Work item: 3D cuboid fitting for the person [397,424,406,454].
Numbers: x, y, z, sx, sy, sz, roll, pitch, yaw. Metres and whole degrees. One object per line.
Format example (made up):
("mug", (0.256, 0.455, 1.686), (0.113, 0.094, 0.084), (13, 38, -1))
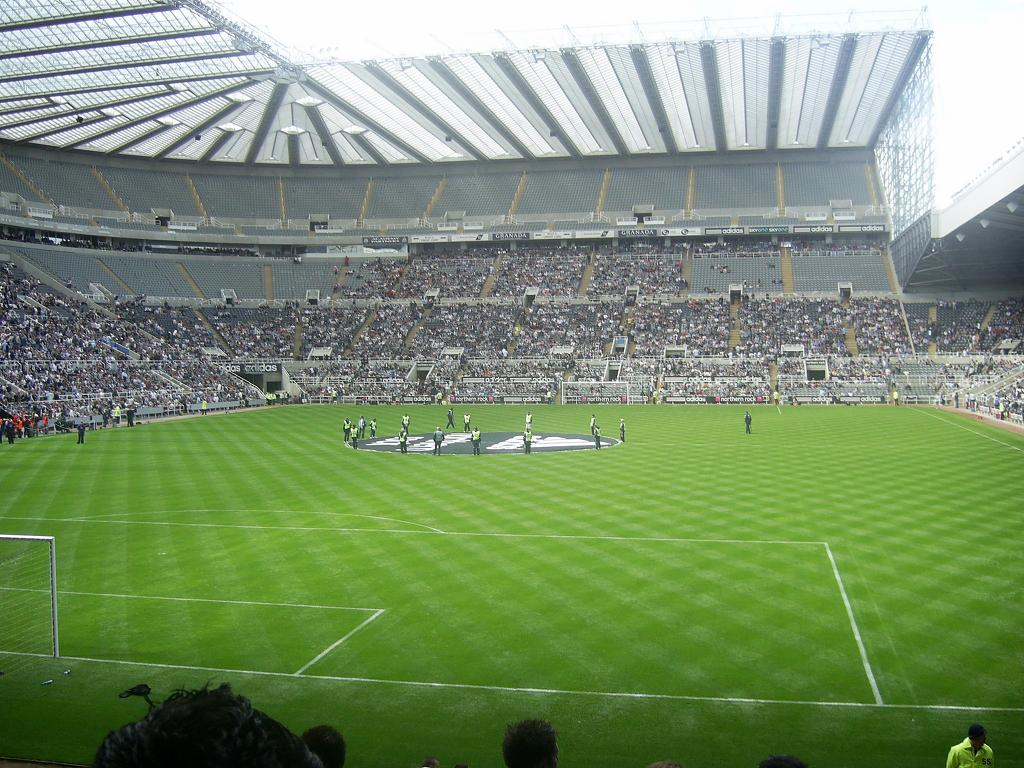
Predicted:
("person", (-5.244, 2.711, 37.960), (0.400, 1.259, 1.059), (8, -12, -4))

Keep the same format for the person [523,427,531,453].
("person", (0.787, 2.704, 37.510), (0.327, 1.198, 0.870), (6, -12, 4))
